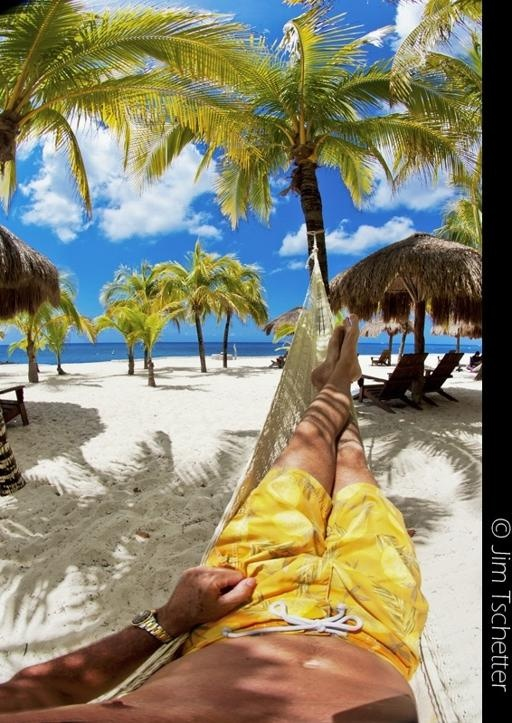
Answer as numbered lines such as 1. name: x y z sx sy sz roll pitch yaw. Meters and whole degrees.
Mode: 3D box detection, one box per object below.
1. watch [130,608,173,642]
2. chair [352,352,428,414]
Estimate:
1. watch: -0.239 0.603 1.147 0.055 0.086 0.085 -36 7 -34
2. chair: 1.790 0.254 6.595 0.527 0.683 0.983 1 1 -12
